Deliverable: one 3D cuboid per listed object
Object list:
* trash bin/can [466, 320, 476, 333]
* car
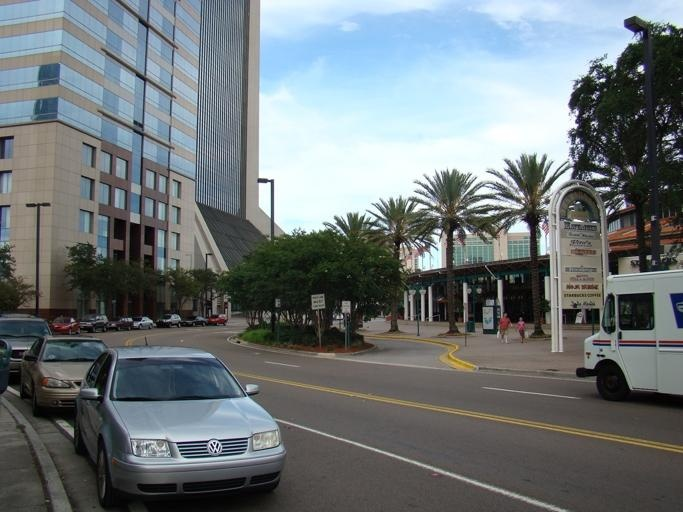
[{"bbox_3d":[11.800,6.430,57.038,0.671,1.318,1.319,0,-1,5],"label":"trash bin/can"},{"bbox_3d":[-2.761,2.653,9.978,3.766,2.108,2.229,-2,2,44],"label":"car"}]
